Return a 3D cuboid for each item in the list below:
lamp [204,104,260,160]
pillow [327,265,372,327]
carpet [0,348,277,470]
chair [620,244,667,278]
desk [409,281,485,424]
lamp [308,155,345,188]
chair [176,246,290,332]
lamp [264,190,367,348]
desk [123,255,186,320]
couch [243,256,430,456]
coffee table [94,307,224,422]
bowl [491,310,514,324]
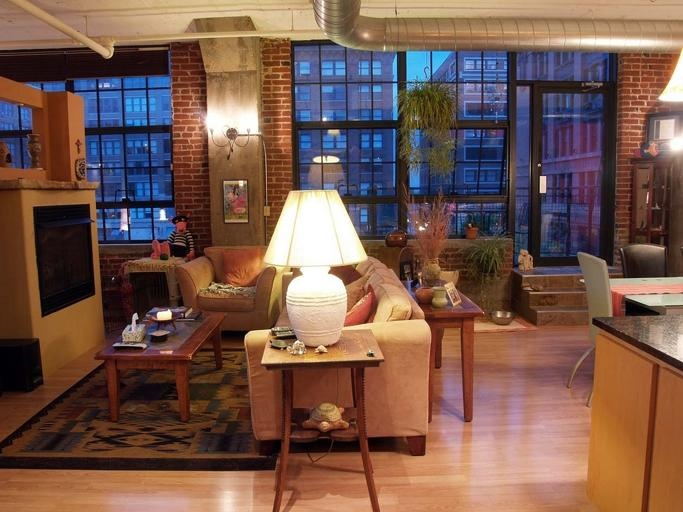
[{"bbox_3d":[-1.397,-1.531,7.693,1.021,0.620,0.433,1,-12,-4],"label":"lamp"},{"bbox_3d":[0.119,0.353,5.010,0.128,0.401,0.431,13,-32,-17],"label":"pillow"},{"bbox_3d":[-1.606,1.378,4.843,2.022,0.237,1.205,-3,9,2],"label":"carpet"},{"bbox_3d":[2.994,0.052,5.874,0.331,0.524,0.390,0,1,9],"label":"chair"},{"bbox_3d":[0.947,0.861,5.422,0.478,0.812,1.337,1,6,5],"label":"desk"},{"bbox_3d":[-0.200,-1.151,8.154,0.458,0.494,0.448,2,5,3],"label":"lamp"},{"bbox_3d":[-1.219,0.481,6.975,1.353,1.063,0.983,1,4,4],"label":"chair"},{"bbox_3d":[-0.173,0.088,3.916,0.659,1.039,0.305,-5,11,-8],"label":"lamp"},{"bbox_3d":[-2.338,0.366,7.597,0.950,0.654,0.883,-4,5,-27],"label":"desk"},{"bbox_3d":[0.056,0.475,4.617,1.106,0.906,1.876,0,9,2],"label":"couch"},{"bbox_3d":[-1.567,0.750,5.033,0.743,0.508,1.338,-1,9,-2],"label":"coffee table"},{"bbox_3d":[2.005,0.757,7.340,0.278,0.146,0.266,-3,9,1],"label":"bowl"}]
